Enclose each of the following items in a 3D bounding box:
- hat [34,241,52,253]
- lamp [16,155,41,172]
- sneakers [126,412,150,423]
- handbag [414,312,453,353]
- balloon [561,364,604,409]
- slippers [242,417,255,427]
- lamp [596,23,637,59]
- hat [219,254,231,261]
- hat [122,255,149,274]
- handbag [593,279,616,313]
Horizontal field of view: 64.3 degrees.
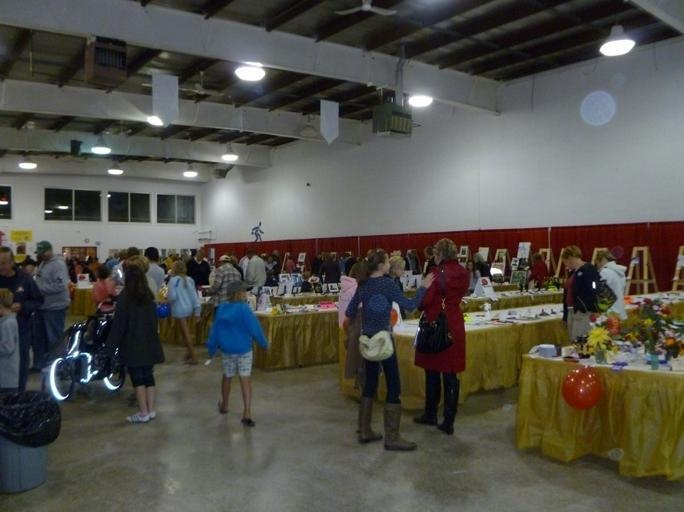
[{"bbox_3d":[-3.960,-0.126,7.213,0.183,0.126,0.150,6,16,11],"label":"hat"},{"bbox_3d":[-10.551,-3.089,18.205,0.583,0.709,0.591,2,-11,-36],"label":"lamp"},{"bbox_3d":[-2.273,1.774,6.005,0.257,0.132,0.102,6,-5,-6],"label":"sneakers"},{"bbox_3d":[0.929,0.768,5.428,0.375,0.440,0.191,-4,0,40],"label":"handbag"},{"bbox_3d":[2.056,1.133,4.705,0.302,0.443,0.337,0,10,12],"label":"balloon"},{"bbox_3d":[-1.012,1.791,5.879,0.064,0.073,0.163,1,-7,-44],"label":"slippers"},{"bbox_3d":[4.282,-3.257,8.521,0.599,0.447,0.663,2,7,12],"label":"lamp"},{"bbox_3d":[-2.395,0.029,11.129,0.198,0.097,0.204,-4,3,-30],"label":"hat"},{"bbox_3d":[-2.548,0.100,6.756,0.292,0.306,0.233,3,-5,41],"label":"hat"},{"bbox_3d":[2.838,0.432,5.900,0.127,0.161,0.348,11,-8,7],"label":"handbag"}]
